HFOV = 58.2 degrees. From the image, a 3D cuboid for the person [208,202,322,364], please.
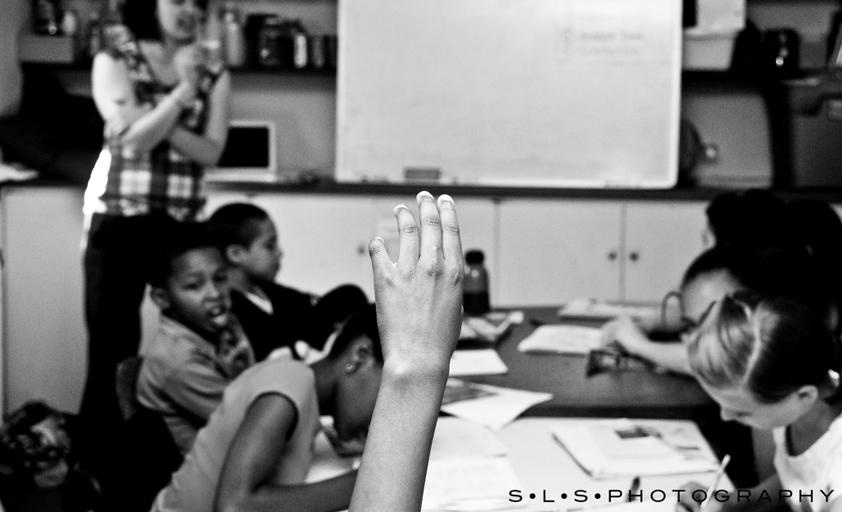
[{"bbox_3d":[-0.596,0.075,2.539,0.343,0.517,0.730,-8,12,-12],"label":"person"}]
